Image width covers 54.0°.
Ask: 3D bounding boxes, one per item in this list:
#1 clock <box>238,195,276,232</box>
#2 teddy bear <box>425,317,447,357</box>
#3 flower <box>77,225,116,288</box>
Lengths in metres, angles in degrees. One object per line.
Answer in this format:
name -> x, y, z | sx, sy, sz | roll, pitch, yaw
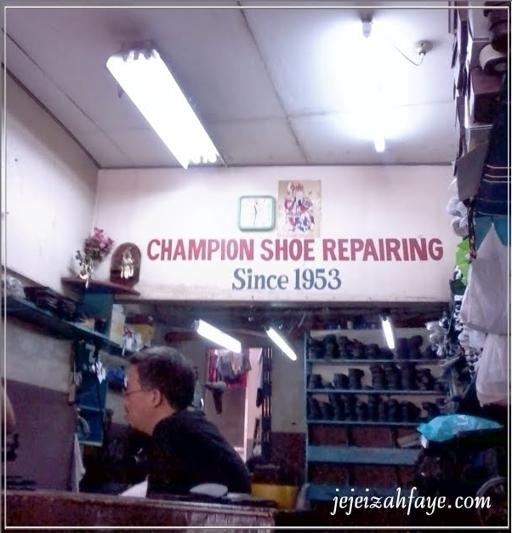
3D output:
clock -> 0.006, -0.218, 2.149 | 0.124, 0.157, 0.034 | 0, -9, 1
teddy bear -> 0.692, 0.270, 1.927 | 0.082, 0.135, 0.040 | 6, -4, 13
flower -> -0.686, -0.074, 2.145 | 0.075, 0.205, 0.084 | 9, -13, -21
